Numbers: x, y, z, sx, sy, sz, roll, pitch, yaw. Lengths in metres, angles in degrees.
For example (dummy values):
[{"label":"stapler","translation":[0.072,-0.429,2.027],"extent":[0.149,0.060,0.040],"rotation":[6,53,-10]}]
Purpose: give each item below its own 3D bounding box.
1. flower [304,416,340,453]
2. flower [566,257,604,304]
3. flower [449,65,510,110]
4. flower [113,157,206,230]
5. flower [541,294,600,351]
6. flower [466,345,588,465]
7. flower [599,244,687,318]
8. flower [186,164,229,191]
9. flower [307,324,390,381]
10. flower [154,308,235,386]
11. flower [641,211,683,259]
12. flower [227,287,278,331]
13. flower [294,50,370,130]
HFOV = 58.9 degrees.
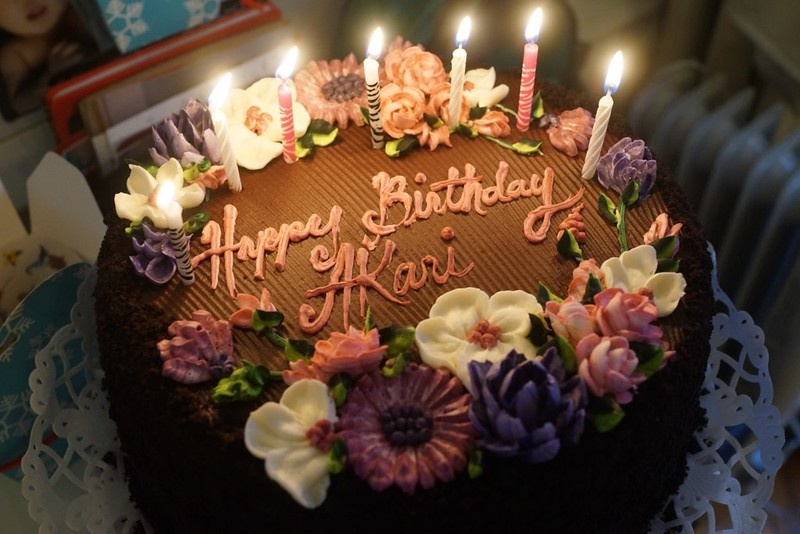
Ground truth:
[{"label":"flower","translation":[-0.335,0.728,3.019],"extent":[0.128,0.115,0.099],"rotation":[-17,38,-12]},{"label":"flower","translation":[0.908,0.019,3.452],"extent":[0.123,0.053,0.224],"rotation":[-15,17,9]},{"label":"flower","translation":[0.486,-1.085,4.191],"extent":[0.362,0.314,0.235],"rotation":[7,70,1]},{"label":"flower","translation":[-1.212,-0.351,3.487],"extent":[0.418,0.163,0.423],"rotation":[-30,54,-31]},{"label":"flower","translation":[0.774,0.226,3.210],"extent":[0.194,0.142,0.252],"rotation":[-15,24,25]},{"label":"flower","translation":[0.536,0.596,2.997],"extent":[0.402,0.376,0.529],"rotation":[2,44,-1]},{"label":"flower","translation":[1.170,0.056,3.357],"extent":[0.338,0.167,0.366],"rotation":[25,39,-2]},{"label":"flower","translation":[-1.022,-0.475,3.740],"extent":[0.144,0.063,0.149],"rotation":[-2,67,-14]},{"label":"flower","translation":[-0.259,0.353,3.044],"extent":[0.245,0.176,0.259],"rotation":[-10,10,13]},{"label":"flower","translation":[-0.922,0.367,3.238],"extent":[0.287,0.121,0.308],"rotation":[25,61,-5]},{"label":"flower","translation":[1.305,-0.154,3.518],"extent":[0.214,0.109,0.207],"rotation":[16,65,36]},{"label":"flower","translation":[-0.707,0.229,3.408],"extent":[0.182,0.098,0.165],"rotation":[-34,44,-13]},{"label":"flower","translation":[-0.368,-1.030,4.113],"extent":[0.441,0.117,0.454],"rotation":[35,65,13]}]
